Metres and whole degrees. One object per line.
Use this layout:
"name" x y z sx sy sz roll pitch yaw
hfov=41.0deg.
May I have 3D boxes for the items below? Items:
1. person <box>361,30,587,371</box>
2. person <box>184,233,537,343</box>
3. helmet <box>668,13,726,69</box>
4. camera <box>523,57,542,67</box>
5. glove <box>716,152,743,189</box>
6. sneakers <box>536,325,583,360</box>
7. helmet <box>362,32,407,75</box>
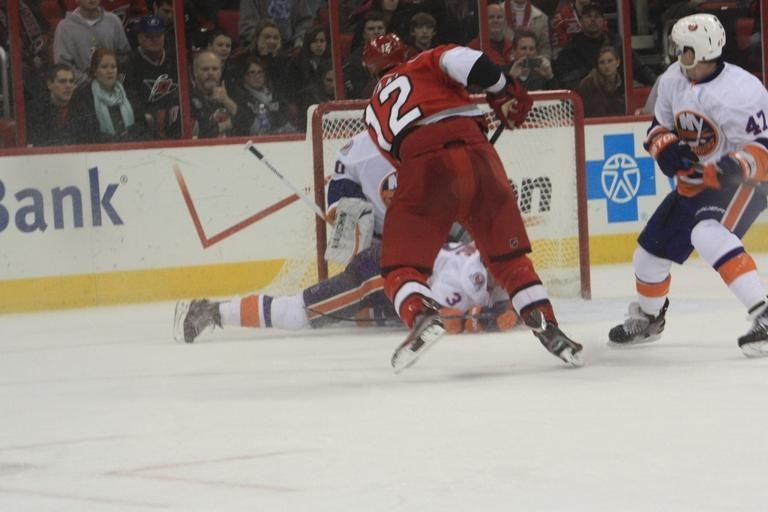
"person" 0.385 -0.283 5.234 0.866 1.553 0.732 -5 10 -3
"person" -0.164 0.194 5.917 1.388 0.399 0.787 -8 6 1
"helmet" 1.623 -1.113 5.325 0.264 0.267 0.216 -2 11 15
"camera" 1.226 -1.594 8.481 0.132 0.086 0.071 0 7 -2
"glove" 1.746 -0.436 5.185 0.127 0.171 0.159 -1 11 18
"sneakers" 0.878 0.438 5.198 0.187 0.082 0.064 40 74 20
"helmet" 0.027 -1.132 5.742 0.271 0.236 0.215 16 20 41
